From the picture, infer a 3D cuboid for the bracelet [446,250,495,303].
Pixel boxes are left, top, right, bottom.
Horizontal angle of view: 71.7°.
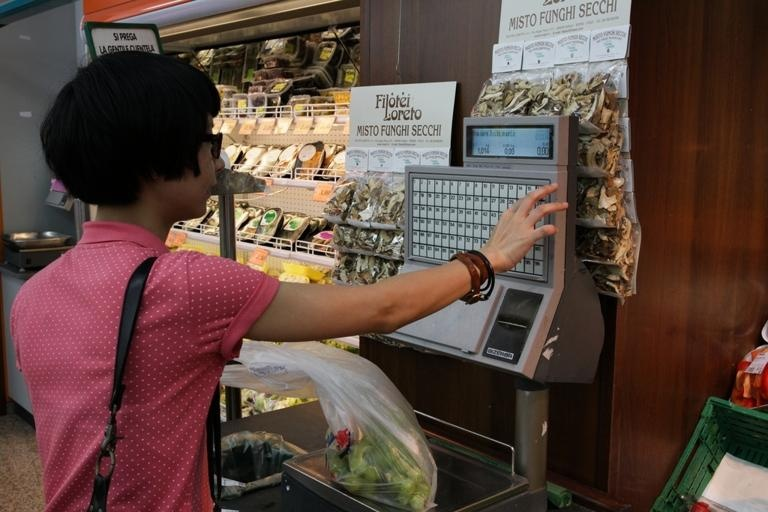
[{"bbox_3d":[0.193,0.054,1.194,0.044,0.118,0.111,-14,54,-9],"label":"bracelet"}]
